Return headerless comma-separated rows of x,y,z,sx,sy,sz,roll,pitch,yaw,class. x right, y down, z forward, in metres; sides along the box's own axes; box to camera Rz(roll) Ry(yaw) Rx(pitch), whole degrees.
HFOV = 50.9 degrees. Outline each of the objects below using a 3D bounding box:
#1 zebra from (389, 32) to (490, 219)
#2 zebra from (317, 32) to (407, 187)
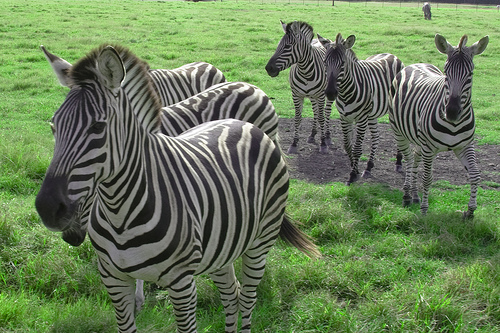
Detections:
3.289,-0.837,9.277,0.896,2.992,2.093,-2,19,-8,zebra
2.468,-1.188,11.360,0.935,3.034,3.802,3,8,35,zebra
